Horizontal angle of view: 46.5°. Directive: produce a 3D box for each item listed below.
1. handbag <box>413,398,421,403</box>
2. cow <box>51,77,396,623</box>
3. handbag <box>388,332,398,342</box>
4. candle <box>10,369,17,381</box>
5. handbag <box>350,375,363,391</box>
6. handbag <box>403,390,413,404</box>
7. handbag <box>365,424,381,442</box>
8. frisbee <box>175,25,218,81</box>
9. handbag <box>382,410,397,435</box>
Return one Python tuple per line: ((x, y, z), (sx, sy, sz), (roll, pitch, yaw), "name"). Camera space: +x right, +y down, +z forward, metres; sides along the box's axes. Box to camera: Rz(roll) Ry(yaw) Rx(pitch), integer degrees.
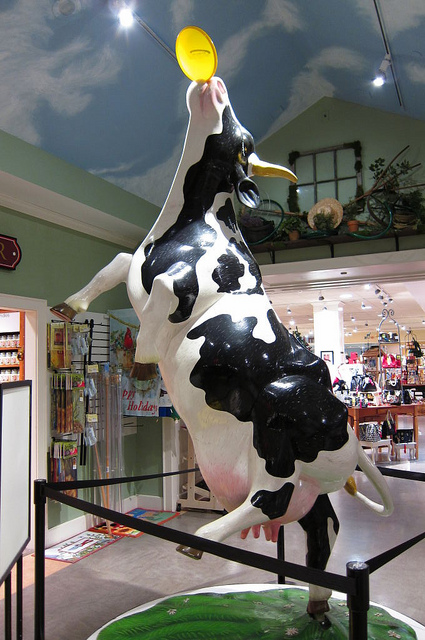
((3.598, 1.418, 8.706), (0.101, 0.052, 0.141), (1, 1, 7), "handbag")
((0.115, -0.079, 1.346), (0.643, 1.251, 0.446), (1, -7, -15), "cow")
((5.572, 0.521, 15.249), (0.146, 0.246, 0.251), (2, 0, 10), "handbag")
((-1.854, 0.506, 4.599), (0.059, 0.099, 0.225), (2, -7, -22), "candle")
((2.424, 1.061, 8.349), (0.074, 0.243, 0.185), (10, 0, 19), "handbag")
((3.142, 1.236, 7.999), (0.115, 0.212, 0.247), (-4, -7, 21), "handbag")
((2.209, 1.561, 6.824), (0.201, 0.200, 0.200), (-3, -6, 16), "handbag")
((-0.044, -0.692, 1.291), (0.102, 0.091, 0.223), (-1, -6, -4), "frisbee")
((2.588, 1.507, 7.283), (0.130, 0.393, 0.398), (-5, -11, 26), "handbag")
